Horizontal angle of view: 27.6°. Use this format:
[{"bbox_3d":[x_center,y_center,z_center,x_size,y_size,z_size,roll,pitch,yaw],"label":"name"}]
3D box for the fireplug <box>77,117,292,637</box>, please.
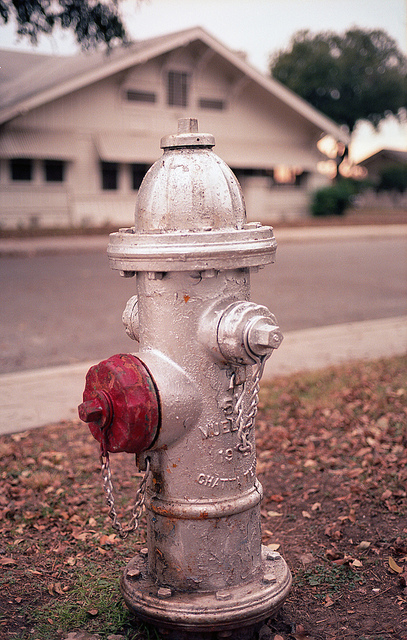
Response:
[{"bbox_3d":[-0.065,0.212,2.957,0.728,1.835,0.544,-1,13,5],"label":"fireplug"}]
